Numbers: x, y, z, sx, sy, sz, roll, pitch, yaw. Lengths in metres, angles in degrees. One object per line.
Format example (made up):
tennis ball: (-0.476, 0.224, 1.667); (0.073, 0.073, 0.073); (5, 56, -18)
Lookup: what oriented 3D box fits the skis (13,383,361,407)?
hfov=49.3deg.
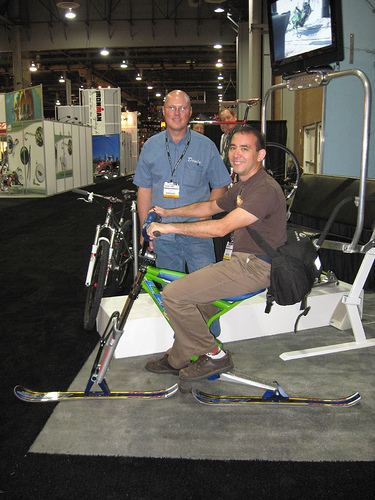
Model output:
skis: (0.009, 0.757, 2.119); (1.918, 0.104, 0.146); (0, 21, 2)

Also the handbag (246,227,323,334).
handbag: (0.544, 0.135, 2.135); (0.311, 0.445, 0.492); (-13, -22, -7)

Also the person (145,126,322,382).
person: (0.231, 0.017, 2.776); (1.363, 1.808, 0.899); (-1, 6, -9)
